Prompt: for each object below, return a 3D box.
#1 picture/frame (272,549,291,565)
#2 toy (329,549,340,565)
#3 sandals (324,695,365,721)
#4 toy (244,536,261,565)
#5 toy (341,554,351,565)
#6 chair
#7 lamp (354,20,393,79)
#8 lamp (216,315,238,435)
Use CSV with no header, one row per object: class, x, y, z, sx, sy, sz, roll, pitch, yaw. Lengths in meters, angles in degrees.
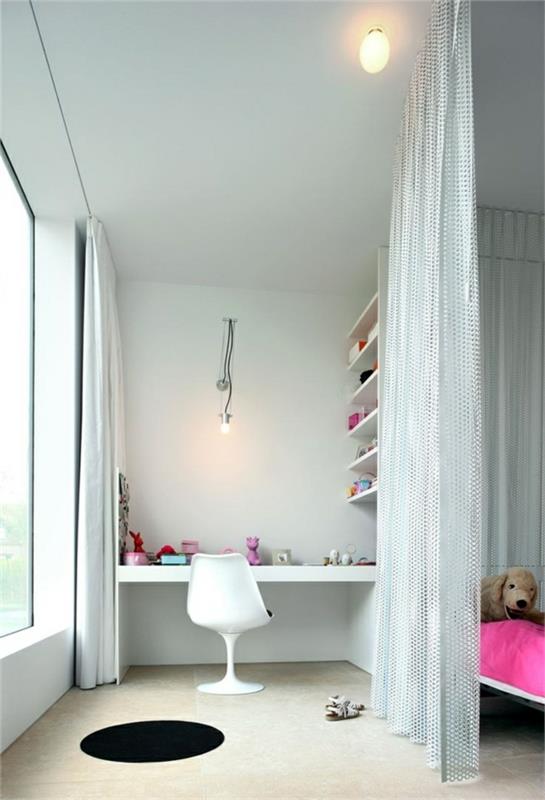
picture/frame,0.053,0.981,3.993,0.092,0.094,0.033,3,-17,-10
toy,0.383,0.988,4.016,0.081,0.127,0.093,1,-14,-6
sandals,0.288,1.244,2.566,0.113,0.043,0.111,0,-4,-9
toy,-0.122,0.943,3.981,0.109,0.204,0.142,-2,-22,-2
toy,0.435,0.962,3.872,0.061,0.081,0.061,-1,-1,-18
chair,-0.214,1.082,3.113,0.400,0.666,0.324,0,-7,-4
lamp,0.357,-1.204,2.256,0.135,0.211,0.134,-4,8,-38
lamp,-0.316,-0.171,4.342,0.135,0.801,0.123,0,-7,-5
